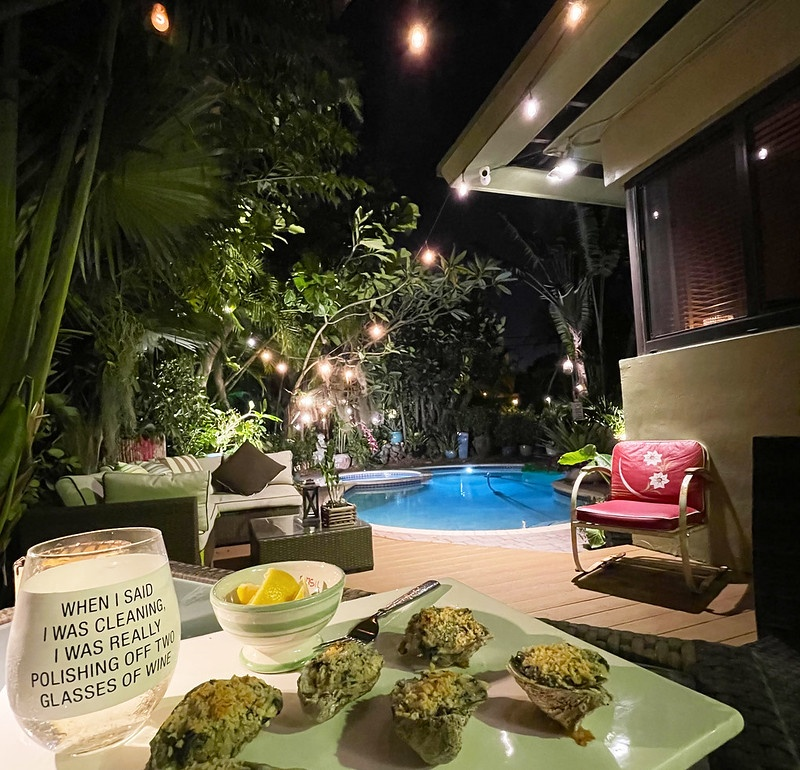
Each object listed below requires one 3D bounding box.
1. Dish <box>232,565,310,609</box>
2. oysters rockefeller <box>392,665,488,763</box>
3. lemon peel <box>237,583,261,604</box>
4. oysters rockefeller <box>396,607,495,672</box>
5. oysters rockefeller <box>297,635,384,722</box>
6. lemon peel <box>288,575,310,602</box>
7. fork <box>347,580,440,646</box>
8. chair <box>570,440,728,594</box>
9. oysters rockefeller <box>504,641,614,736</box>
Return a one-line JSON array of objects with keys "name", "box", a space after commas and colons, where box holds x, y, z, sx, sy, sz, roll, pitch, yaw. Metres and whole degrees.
[{"name": "Dish", "box": [-0.187, 0.282, 0.818, 0.065, 0.035, 0.061, 6, -2, 31]}, {"name": "oysters rockefeller", "box": [0.042, 0.341, 0.605, 0.091, 0.036, 0.073, -9, 16, -36]}, {"name": "lemon peel", "box": [-0.224, 0.301, 0.819, 0.026, 0.023, 0.012, 8, -6, -36]}, {"name": "oysters rockefeller", "box": [0.061, 0.349, 0.813, 0.122, 0.053, 0.109, 2, -4, 45]}, {"name": "oysters rockefeller", "box": [-0.075, 0.335, 0.664, 0.076, 0.036, 0.084, -9, 0, 4]}, {"name": "lemon peel", "box": [-0.143, 0.289, 0.820, 0.024, 0.035, 0.040, 0, -3, 16]}, {"name": "fork", "box": [-0.005, 0.363, 0.950, 0.044, 0.025, 0.245, 13, 7, 29]}, {"name": "chair", "box": [1.452, 0.734, 3.351, 0.627, 0.769, 0.722, -6, 0, -40]}, {"name": "oysters rockefeller", "box": [0.187, 0.345, 0.647, 0.120, 0.074, 0.102, 0, -5, 7]}]
